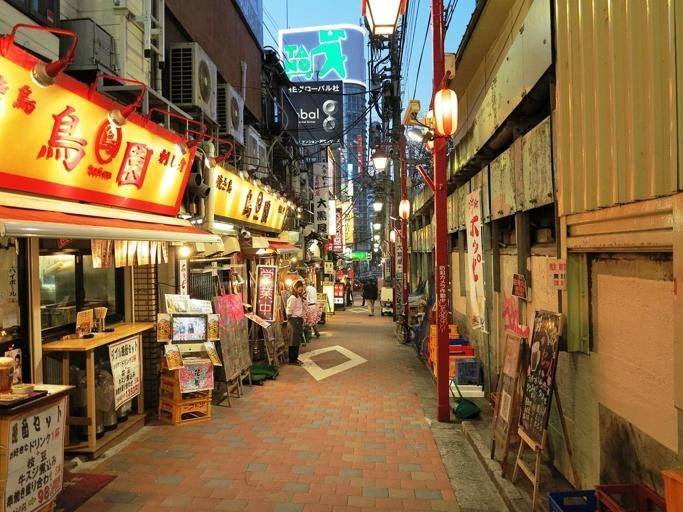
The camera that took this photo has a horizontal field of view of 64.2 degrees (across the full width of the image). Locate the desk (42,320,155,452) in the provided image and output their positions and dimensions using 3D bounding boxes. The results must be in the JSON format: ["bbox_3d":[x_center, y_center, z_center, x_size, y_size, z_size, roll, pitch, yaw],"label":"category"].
[{"bbox_3d":[-3.948,2.146,8.922,0.991,1.844,1.272,1,7,7],"label":"desk"}]

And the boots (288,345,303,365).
[{"bbox_3d":[-1.266,2.641,14.734,0.446,0.749,0.390,0,2,-1],"label":"boots"}]

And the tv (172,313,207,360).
[{"bbox_3d":[-2.937,1.598,10.392,0.720,0.910,0.306,2,-39,-21],"label":"tv"}]

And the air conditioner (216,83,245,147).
[{"bbox_3d":[-2.889,-3.550,13.740,0.471,1.323,1.298,-1,-1,4],"label":"air conditioner"}]
